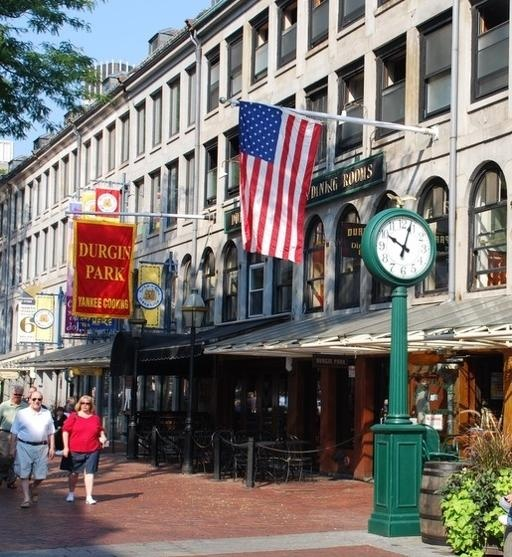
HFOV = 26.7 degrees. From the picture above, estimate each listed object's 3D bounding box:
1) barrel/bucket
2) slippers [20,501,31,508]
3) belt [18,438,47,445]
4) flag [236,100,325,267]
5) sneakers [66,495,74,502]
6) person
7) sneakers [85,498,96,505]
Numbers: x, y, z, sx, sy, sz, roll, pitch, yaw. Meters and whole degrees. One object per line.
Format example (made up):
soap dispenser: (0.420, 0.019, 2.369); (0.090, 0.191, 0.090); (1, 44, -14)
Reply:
barrel/bucket: (2.051, 2.493, 11.935); (0.317, 0.902, 0.517); (4, -11, -23)
slippers: (-3.148, 3.084, 14.701); (0.087, 0.119, 0.273); (0, -13, -4)
belt: (-3.181, 2.341, 15.326); (0.408, 0.087, 0.127); (5, -12, -23)
flag: (0.298, -1.670, 18.697); (1.020, 2.619, 1.858); (-8, -13, 38)
sneakers: (-2.694, 3.173, 15.529); (0.069, 0.076, 0.191); (0, -1, -6)
person: (-2.879, 2.430, 15.463); (1.077, 1.669, 1.338); (-8, -14, 37)
sneakers: (-2.351, 3.149, 15.221); (0.069, 0.092, 0.195); (3, -11, -24)
